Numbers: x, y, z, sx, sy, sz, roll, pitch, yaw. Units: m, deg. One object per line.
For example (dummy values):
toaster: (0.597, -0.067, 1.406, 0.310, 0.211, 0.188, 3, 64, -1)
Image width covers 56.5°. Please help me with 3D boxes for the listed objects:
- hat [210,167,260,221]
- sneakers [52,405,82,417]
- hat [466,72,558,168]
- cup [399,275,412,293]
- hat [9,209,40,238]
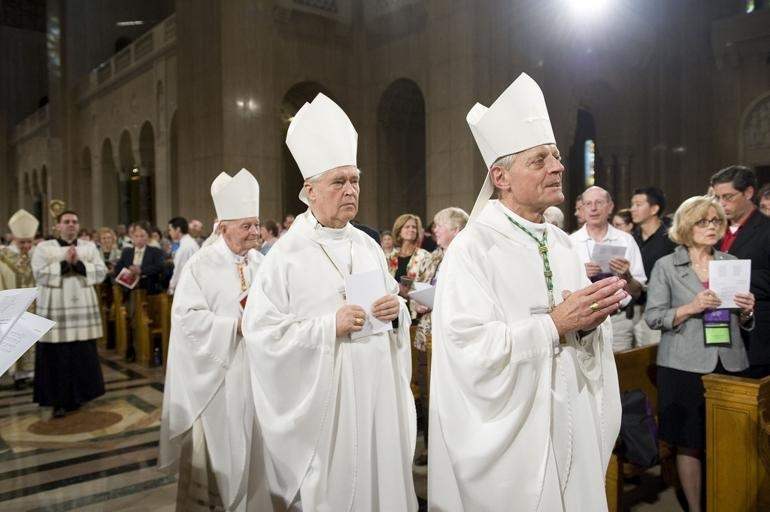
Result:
hat: (-1.637, -0.613, 7.733, 0.411, 0.504, 0.552, -5, -6, -42)
sneakers: (-4.276, 2.072, 9.614, 0.123, 0.182, 0.405, -6, -13, -1)
hat: (1.133, -1.061, 6.112, 0.792, 0.669, 0.632, -32, -14, 37)
cup: (0.231, 0.316, 7.969, 0.123, 0.124, 0.219, 0, -33, -2)
hat: (-5.352, -0.504, 10.569, 0.349, 0.257, 0.477, -9, -14, -25)
